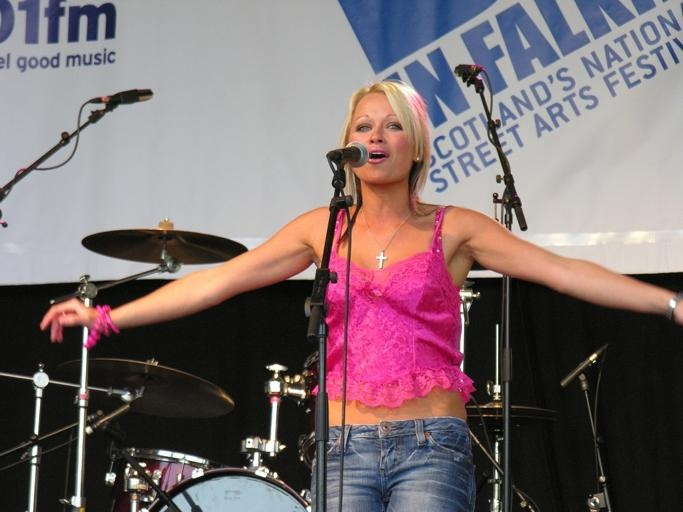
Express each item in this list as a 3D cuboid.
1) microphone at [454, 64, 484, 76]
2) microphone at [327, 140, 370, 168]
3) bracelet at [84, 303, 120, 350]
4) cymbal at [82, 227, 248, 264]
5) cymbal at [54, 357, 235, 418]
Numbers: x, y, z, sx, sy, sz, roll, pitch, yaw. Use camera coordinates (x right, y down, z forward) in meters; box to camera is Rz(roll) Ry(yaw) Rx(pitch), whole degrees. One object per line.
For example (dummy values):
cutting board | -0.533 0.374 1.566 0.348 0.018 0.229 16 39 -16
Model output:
microphone | 0.730 -1.066 5.992 0.112 0.078 0.047 -2 -32 16
microphone | 0.030 -0.461 4.634 0.086 0.098 0.169 25 14 37
bracelet | -1.131 0.319 4.863 0.154 0.226 0.096 -5 -13 41
cymbal | -1.080 -0.055 6.515 0.742 0.260 0.789 1 -8 16
cymbal | -1.132 0.799 6.361 0.896 0.430 0.907 -4 -5 30
